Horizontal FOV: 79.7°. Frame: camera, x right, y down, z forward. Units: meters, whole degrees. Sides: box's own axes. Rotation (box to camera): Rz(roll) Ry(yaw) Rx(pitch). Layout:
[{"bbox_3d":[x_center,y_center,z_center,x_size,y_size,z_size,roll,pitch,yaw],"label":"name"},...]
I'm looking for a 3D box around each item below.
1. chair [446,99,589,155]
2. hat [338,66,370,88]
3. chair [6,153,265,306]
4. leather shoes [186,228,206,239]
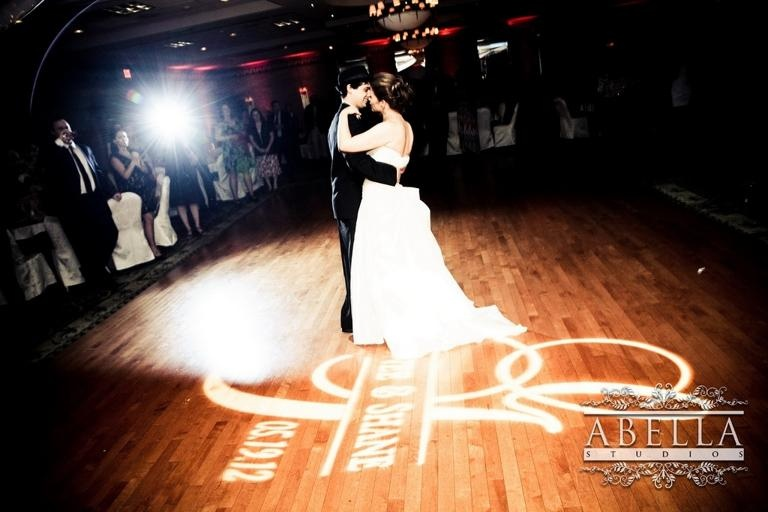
[{"bbox_3d":[2.735,-3.126,11.058,3.806,1.249,1.369,-2,12,-4],"label":"chair"},{"bbox_3d":[-0.225,-1.478,3.729,0.181,0.055,0.178,-24,14,-36],"label":"hat"},{"bbox_3d":[-3.931,-0.299,5.938,1.214,1.663,1.305,-8,4,-36],"label":"chair"},{"bbox_3d":[-3.346,-0.397,8.179,0.497,0.184,0.180,1,30,23],"label":"leather shoes"}]
